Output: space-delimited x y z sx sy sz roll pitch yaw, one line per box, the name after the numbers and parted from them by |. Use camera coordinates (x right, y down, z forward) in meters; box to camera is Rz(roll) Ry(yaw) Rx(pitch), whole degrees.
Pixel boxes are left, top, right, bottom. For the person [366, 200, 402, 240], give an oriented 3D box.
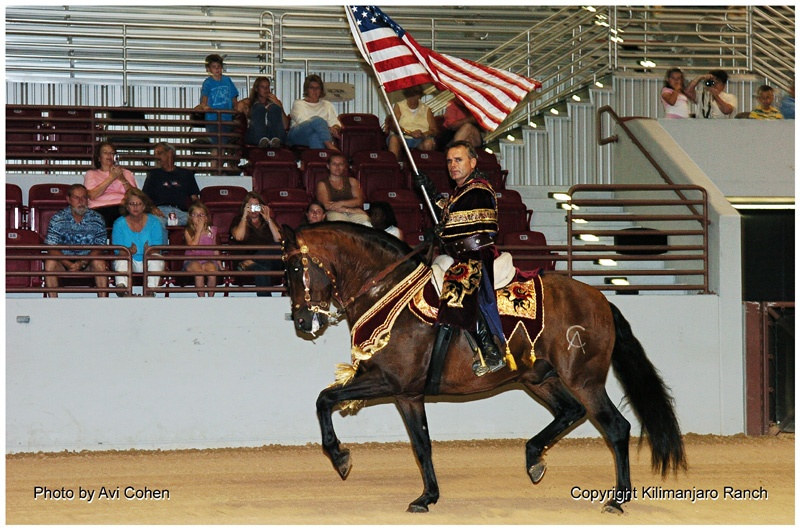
-0.312 -0.730 32.715 0.386 0.627 0.412 -20 -20 6 | person

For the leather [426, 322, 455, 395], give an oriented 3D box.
0.598 1.436 30.426 0.470 1.074 0.128 -1 3 1 | leather

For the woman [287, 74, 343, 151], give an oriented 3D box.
-1.651 -2.506 36.639 0.963 1.992 1.024 0 0 -26 | woman

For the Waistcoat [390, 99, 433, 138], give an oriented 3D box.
0.211 -2.706 36.938 0.745 0.709 0.406 2 7 -11 | Waistcoat

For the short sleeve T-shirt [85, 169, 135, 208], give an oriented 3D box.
-5.231 -1.296 34.816 1.065 0.885 0.618 -1 -3 -23 | short sleeve T-shirt

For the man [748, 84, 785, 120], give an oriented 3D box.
7.194 -3.072 38.103 0.684 0.677 0.345 1 5 15 | man

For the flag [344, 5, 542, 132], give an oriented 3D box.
0.670 -3.480 36.065 3.139 1.587 0.371 1 4 1 | flag

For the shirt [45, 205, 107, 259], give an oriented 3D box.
-5.746 -0.545 33.802 1.377 1.113 0.743 0 -4 -14 | shirt

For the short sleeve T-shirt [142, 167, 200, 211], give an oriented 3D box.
-4.200 -1.357 35.096 0.993 0.777 0.531 -3 5 -8 | short sleeve T-shirt

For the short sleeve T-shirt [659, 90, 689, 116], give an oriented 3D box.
5.361 -3.088 37.783 0.499 0.477 0.279 3 -13 -38 | short sleeve T-shirt

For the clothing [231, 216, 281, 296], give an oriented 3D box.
-2.459 -0.199 33.558 1.044 1.523 1.245 0 -3 -24 | clothing

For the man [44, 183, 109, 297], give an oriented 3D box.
-5.621 -0.416 33.304 1.092 1.850 1.017 -2 4 -11 | man

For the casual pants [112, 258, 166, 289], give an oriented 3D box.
-4.462 0.087 33.475 0.599 0.598 0.142 0 8 -4 | casual pants

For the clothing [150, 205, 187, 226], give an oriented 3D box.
-4.111 -0.834 34.550 0.393 0.135 0.406 21 0 -36 | clothing

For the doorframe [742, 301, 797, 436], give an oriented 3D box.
6.461 1.714 33.862 1.375 1.954 0.495 1 -3 -23 | doorframe

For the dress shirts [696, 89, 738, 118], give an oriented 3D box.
6.216 -3.093 38.220 0.606 0.717 0.416 2 -9 3 | dress shirts

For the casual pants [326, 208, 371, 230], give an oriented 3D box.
-0.910 -0.747 32.594 0.732 0.405 0.184 15 -1 -8 | casual pants

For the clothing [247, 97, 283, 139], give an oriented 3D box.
-2.533 -2.632 36.145 0.470 0.773 0.395 1 6 -5 | clothing

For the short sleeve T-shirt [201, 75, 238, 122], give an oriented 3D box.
-3.542 -3.077 37.759 0.742 1.023 0.248 -2 -10 -15 | short sleeve T-shirt

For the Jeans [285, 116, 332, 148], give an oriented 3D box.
-1.716 -2.389 36.305 0.614 0.245 0.627 8 39 13 | Jeans

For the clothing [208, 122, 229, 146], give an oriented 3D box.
-3.558 -2.455 37.475 0.417 0.352 0.459 0 -5 -1 | clothing

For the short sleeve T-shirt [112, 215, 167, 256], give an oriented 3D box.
-4.560 -0.511 33.631 1.115 1.048 0.616 0 -5 -14 | short sleeve T-shirt

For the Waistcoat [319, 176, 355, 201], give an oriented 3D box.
-1.164 -1.236 34.492 0.544 0.614 0.338 -2 -10 -6 | Waistcoat

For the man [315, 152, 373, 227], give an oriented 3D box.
-1.076 -1.037 34.319 0.846 1.947 1.185 -5 0 -6 | man

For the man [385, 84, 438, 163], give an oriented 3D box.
0.188 -2.574 36.779 0.989 1.592 0.994 -7 16 -36 | man

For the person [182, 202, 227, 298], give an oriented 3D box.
-3.431 -0.273 33.436 0.676 1.565 0.921 -1 4 -7 | person
